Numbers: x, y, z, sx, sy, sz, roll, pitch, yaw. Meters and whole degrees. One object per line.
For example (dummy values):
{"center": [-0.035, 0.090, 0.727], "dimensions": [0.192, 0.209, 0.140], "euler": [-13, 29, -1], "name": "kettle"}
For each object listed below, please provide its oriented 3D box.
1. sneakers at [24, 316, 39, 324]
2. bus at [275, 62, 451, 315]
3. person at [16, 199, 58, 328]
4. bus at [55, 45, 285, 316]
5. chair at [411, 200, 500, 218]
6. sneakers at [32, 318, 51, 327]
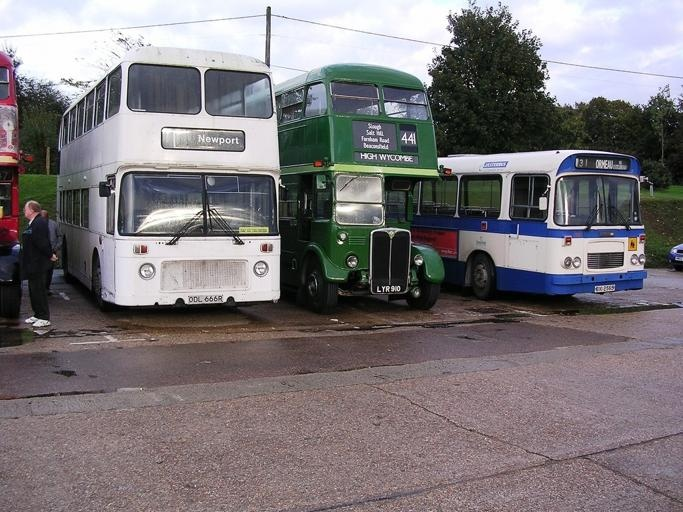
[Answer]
{"center": [-6.157, 1.273, 10.995], "dimensions": [0.162, 0.161, 0.342], "euler": [4, -5, -23], "name": "sneakers"}
{"center": [0.323, -1.457, 13.560], "dimensions": [2.460, 4.428, 6.439], "euler": [-2, 5, -16], "name": "bus"}
{"center": [-5.850, 0.186, 10.663], "dimensions": [0.534, 2.448, 0.732], "euler": [-1, 2, -31], "name": "person"}
{"center": [-4.534, -1.552, 12.562], "dimensions": [6.221, 5.387, 2.661], "euler": [1, 2, 40], "name": "bus"}
{"center": [3.573, -1.327, 16.607], "dimensions": [0.219, 0.462, 2.937], "euler": [-9, 10, -36], "name": "chair"}
{"center": [-5.826, 1.308, 10.762], "dimensions": [0.138, 0.139, 0.313], "euler": [1, -5, 12], "name": "sneakers"}
